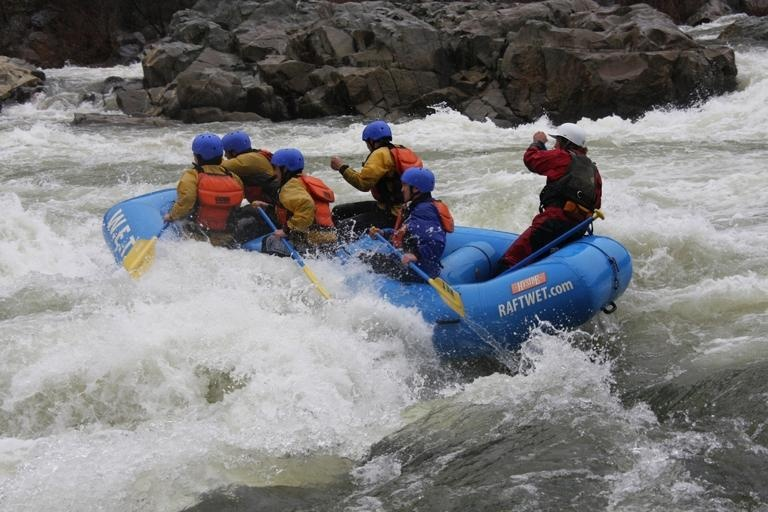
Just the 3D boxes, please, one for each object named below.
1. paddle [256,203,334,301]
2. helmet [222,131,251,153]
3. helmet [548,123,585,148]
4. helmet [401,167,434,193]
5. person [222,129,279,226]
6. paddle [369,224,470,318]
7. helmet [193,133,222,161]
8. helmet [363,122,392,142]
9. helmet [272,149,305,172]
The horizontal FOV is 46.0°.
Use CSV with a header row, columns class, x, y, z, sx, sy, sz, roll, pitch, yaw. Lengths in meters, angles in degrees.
class,x,y,z,sx,sy,sz,roll,pitch,yaw
paddle,-1.260,0.009,12.925,0.100,1.811,0.091,30,73,32
helmet,-2.288,-1.774,14.055,0.443,0.299,0.289,8,27,14
helmet,2.721,-1.781,13.274,0.530,0.226,0.380,20,8,8
helmet,0.497,-1.082,12.794,0.472,0.253,0.310,5,25,-9
person,-2.023,-1.354,13.904,1.020,1.127,0.494,-2,-17,-33
paddle,0.588,0.331,12.645,1.306,0.833,0.348,19,31,39
helmet,-2.540,-1.611,13.397,0.409,0.221,0.410,22,30,20
helmet,-0.120,-1.901,13.776,0.303,0.287,0.376,-5,23,-24
helmet,-1.386,-1.419,13.288,0.448,0.291,0.304,-10,30,3
